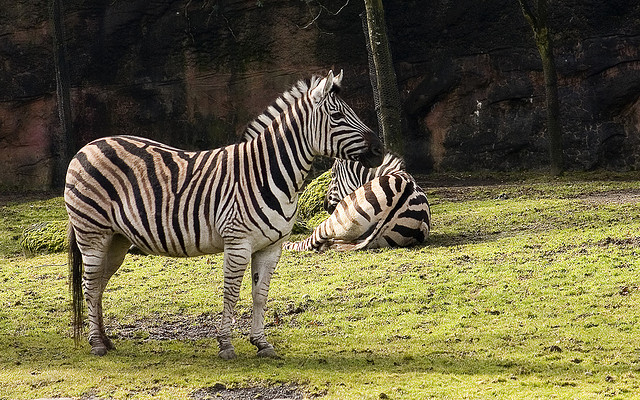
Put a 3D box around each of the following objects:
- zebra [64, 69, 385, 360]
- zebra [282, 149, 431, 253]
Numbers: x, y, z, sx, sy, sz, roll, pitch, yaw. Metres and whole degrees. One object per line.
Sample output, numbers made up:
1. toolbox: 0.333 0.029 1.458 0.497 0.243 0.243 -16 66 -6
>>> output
1. zebra: -1.978 0.372 20.783 6.836 5.410 2.037 -2 -1 11
2. zebra: 0.815 0.294 25.090 1.818 2.500 4.241 9 -10 -41
